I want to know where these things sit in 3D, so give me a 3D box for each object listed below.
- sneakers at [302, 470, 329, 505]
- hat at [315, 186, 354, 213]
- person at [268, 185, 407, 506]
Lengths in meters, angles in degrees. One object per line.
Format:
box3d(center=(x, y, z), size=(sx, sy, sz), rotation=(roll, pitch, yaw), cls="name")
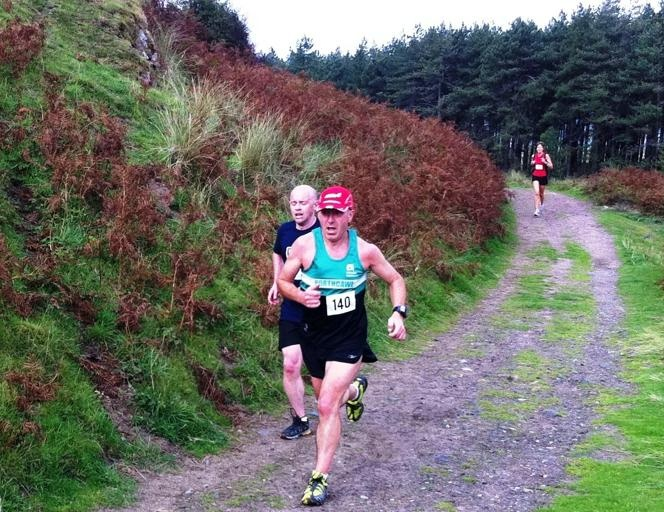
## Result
box3d(center=(-0.154, 2.123, 5.760), size=(0.139, 0.185, 0.372), rotation=(2, -8, 8), cls="sneakers")
box3d(center=(0.023, -0.526, 5.923), size=(0.322, 0.232, 0.267), rotation=(-3, 12, -4), cls="hat")
box3d(center=(0.088, 0.765, 5.998), size=(1.104, 2.786, 0.871), rotation=(-4, 11, -10), cls="person")
